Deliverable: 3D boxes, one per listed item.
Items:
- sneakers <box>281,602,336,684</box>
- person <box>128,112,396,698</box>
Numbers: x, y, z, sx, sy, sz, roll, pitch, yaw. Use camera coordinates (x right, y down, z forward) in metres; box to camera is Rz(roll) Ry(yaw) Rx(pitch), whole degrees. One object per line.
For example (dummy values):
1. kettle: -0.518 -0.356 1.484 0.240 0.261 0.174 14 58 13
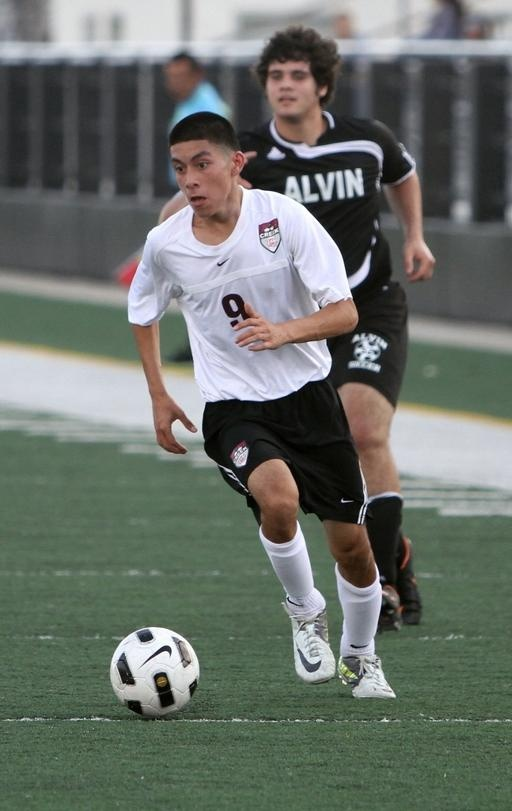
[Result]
1. sneakers: 0.142 0.666 2.793 0.098 0.110 0.262 -9 47 2
2. person: -0.003 0.018 2.770 0.505 1.575 0.672 -4 8 -32
